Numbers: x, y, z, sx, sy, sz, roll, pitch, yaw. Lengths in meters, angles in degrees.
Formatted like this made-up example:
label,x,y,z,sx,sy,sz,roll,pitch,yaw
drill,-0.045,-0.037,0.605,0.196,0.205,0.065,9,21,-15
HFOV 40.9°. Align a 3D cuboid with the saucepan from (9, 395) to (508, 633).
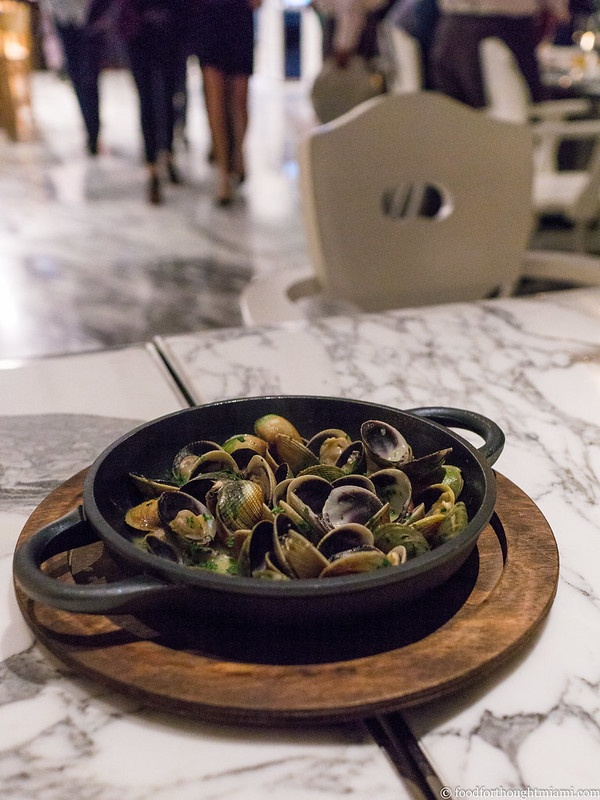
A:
label,x,y,z,sx,sy,sz,roll,pitch,yaw
saucepan,-0.010,0.062,0.532,0.263,0.063,0.273,10,30,13
